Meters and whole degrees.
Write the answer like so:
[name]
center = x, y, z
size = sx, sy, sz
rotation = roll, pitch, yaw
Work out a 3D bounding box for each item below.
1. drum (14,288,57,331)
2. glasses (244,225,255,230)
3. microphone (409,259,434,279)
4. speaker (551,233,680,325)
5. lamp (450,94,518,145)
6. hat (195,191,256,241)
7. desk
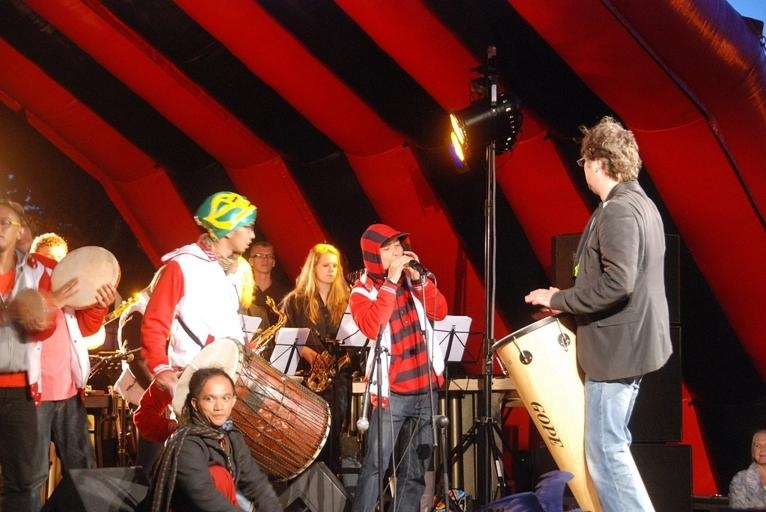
[drum]
center = -2.692, 0.427, 6.060
size = 0.310, 0.319, 0.157
rotation = 11, -23, -27
[glasses]
center = -1.071, -0.226, 6.260
size = 0.066, 0.034, 0.081
rotation = -3, -11, -6
[microphone]
center = 0.333, 0.095, 6.747
size = 0.197, 0.061, 0.128
rotation = 43, -38, -2
[speaker]
center = 1.758, 0.191, 5.824
size = 0.671, 0.707, 0.235
rotation = 0, -8, 4
[lamp]
center = 0.993, -1.307, 7.853
size = 0.599, 0.535, 0.372
rotation = -22, -7, -3
[hat]
center = -1.268, -0.367, 6.286
size = 0.412, 0.336, 0.334
rotation = -24, -65, 10
[desk]
center = 0.607, 2.148, 7.972
size = 1.583, 1.744, 1.358
rotation = -2, -13, 9
